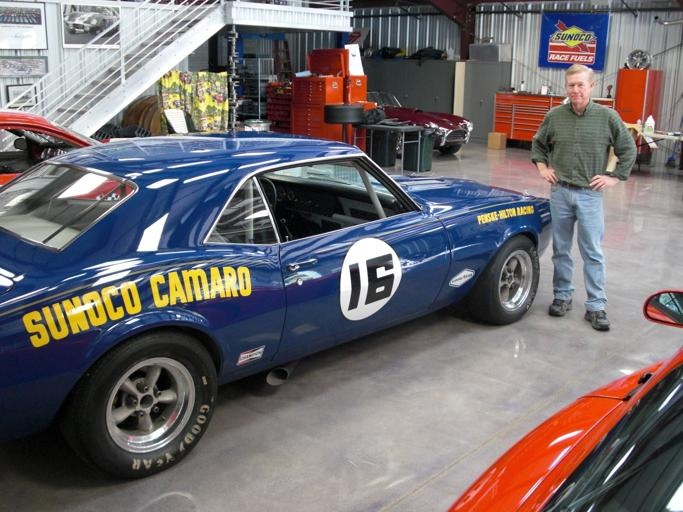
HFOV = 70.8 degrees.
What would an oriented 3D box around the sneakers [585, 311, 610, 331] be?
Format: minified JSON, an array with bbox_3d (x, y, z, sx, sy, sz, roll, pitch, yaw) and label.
[{"bbox_3d":[2.299,0.583,4.345,0.116,0.110,0.286,-5,13,-10],"label":"sneakers"}]

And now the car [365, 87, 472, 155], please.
[{"bbox_3d":[1.679,-3.860,13.942,3.698,1.078,1.750,14,25,31],"label":"car"}]

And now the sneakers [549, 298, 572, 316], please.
[{"bbox_3d":[2.112,0.503,4.617,0.112,0.110,0.297,3,4,42],"label":"sneakers"}]

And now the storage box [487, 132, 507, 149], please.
[{"bbox_3d":[4.882,-3.627,15.326,0.678,0.503,0.575,5,8,20],"label":"storage box"}]

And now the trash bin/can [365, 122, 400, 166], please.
[{"bbox_3d":[1.304,-2.863,12.166,0.933,0.814,0.819,-7,15,41],"label":"trash bin/can"}]
